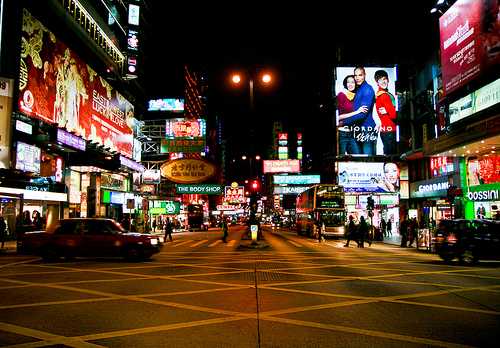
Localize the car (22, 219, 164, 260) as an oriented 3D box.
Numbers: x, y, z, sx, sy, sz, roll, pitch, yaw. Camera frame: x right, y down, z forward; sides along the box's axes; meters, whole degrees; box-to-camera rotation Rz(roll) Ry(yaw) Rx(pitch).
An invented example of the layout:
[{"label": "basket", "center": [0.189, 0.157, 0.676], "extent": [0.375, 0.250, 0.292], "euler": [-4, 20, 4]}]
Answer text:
[{"label": "car", "center": [-8.123, 3.423, 23.945], "extent": [6.425, 2.115, 0.878], "euler": [0, 9, 0]}]
